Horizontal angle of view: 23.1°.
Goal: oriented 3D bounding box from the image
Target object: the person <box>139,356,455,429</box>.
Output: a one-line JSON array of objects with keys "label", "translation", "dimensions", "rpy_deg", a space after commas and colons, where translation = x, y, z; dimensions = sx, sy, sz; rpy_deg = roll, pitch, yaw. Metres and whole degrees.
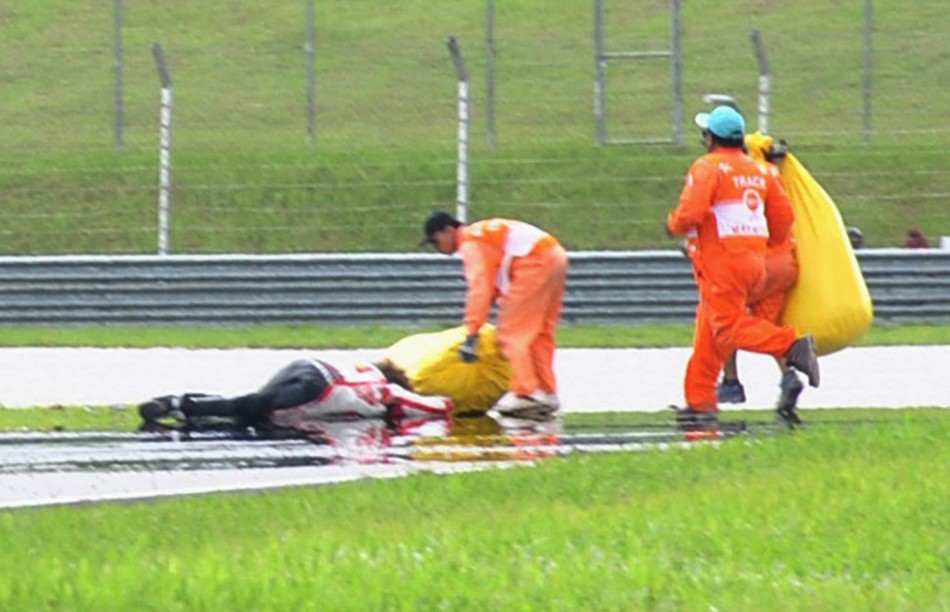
[{"label": "person", "translation": [-1.867, 0.903, 23.548], "dimensions": [1.911, 0.391, 1.078], "rpy_deg": [1, 8, -16]}]

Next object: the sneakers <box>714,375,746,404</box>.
[{"label": "sneakers", "translation": [2.670, 0.891, 24.202], "dimensions": [0.346, 0.230, 0.283], "rpy_deg": [-2, 2, 9]}]

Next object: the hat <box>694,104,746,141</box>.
[{"label": "hat", "translation": [2.577, -1.860, 23.955], "dimensions": [0.507, 0.224, 0.362], "rpy_deg": [27, 38, 23]}]

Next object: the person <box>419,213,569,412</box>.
[{"label": "person", "translation": [0.326, 0.083, 23.990], "dimensions": [1.264, 1.728, 0.549], "rpy_deg": [-6, 2, -21]}]
